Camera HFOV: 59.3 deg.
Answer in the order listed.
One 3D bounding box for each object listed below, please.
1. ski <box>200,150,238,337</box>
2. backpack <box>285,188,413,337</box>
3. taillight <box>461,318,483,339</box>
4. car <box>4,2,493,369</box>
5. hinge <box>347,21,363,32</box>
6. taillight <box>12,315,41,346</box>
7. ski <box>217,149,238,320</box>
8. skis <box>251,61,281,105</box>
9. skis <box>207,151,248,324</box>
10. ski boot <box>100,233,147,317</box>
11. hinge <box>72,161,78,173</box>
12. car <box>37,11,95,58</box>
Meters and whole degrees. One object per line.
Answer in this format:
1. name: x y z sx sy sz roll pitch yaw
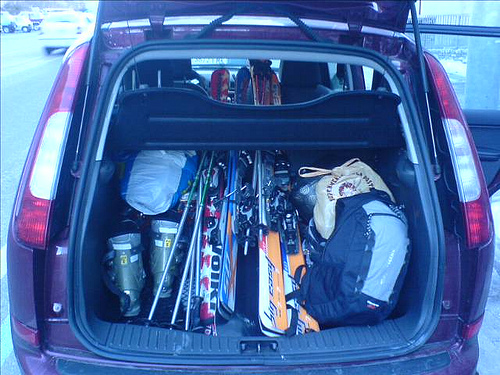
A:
1. ski: -0.242 0.332 3.056 0.157 0.144 1.329 2 55 5
2. backpack: 0.636 0.433 2.609 0.544 0.504 0.838 31 73 12
3. taillight: 1.136 0.728 2.292 0.063 0.112 0.089 7 107 0
4. car: 0.026 -0.015 2.748 2.406 1.288 2.151 0 70 1
5. hinge: 0.689 -1.061 2.889 0.059 0.110 0.064 2 86 21
6. taillight: -1.092 0.702 2.160 0.040 0.037 0.163 -21 94 19
7. ski: -0.137 0.360 2.949 0.131 0.105 0.973 22 51 -31
8. skis: 0.124 -0.897 3.815 0.270 0.112 0.509 -3 84 2
9. skis: -0.152 0.260 3.038 0.155 0.103 1.293 -9 60 22
10. ski boot: -0.769 0.530 2.686 0.280 0.192 0.491 -9 90 -25
11. hinge: -0.887 -0.106 2.230 0.023 0.011 0.048 7 74 -22
12. car: -3.988 -3.755 9.594 1.009 0.809 2.352 10 33 -24
